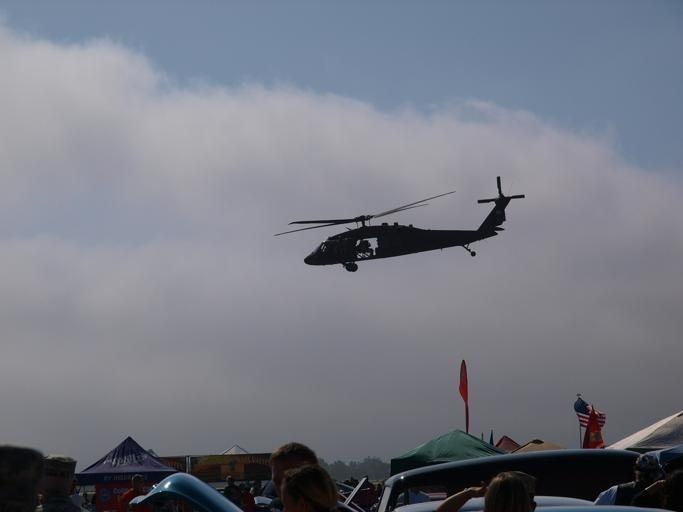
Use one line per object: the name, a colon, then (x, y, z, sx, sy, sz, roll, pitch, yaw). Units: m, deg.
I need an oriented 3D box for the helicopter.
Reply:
helicopter: (1.567, -0.760, 37.529, 6.744, 2.124, 6.082, -5, 1, 6)
